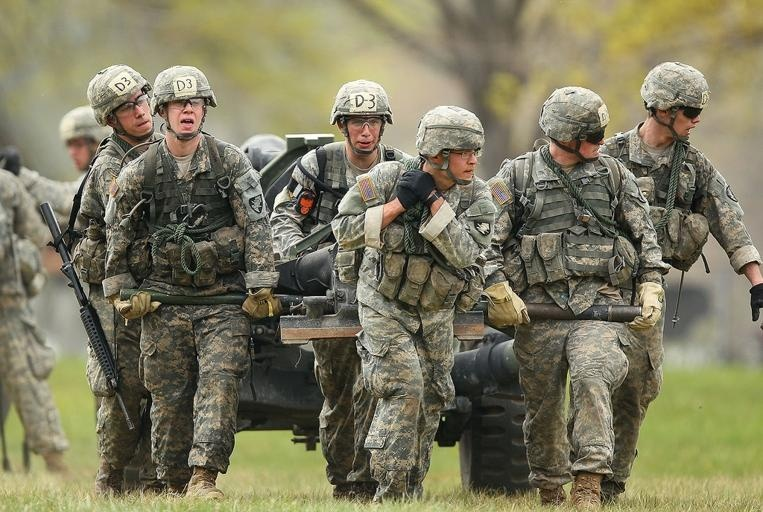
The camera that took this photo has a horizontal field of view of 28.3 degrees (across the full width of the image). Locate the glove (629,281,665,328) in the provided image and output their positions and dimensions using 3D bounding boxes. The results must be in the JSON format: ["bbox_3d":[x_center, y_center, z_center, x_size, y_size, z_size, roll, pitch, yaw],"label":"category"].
[{"bbox_3d":[2.487,0.472,13.994,0.247,0.486,0.211,1,-3,12],"label":"glove"}]

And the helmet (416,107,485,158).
[{"bbox_3d":[0.618,-1.151,13.574,0.515,0.404,0.458,5,10,15],"label":"helmet"}]

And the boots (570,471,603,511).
[{"bbox_3d":[1.866,2.147,13.755,0.273,0.347,0.290,0,-13,6],"label":"boots"}]

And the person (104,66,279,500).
[{"bbox_3d":[-1.865,0.273,14.268,1.506,4.003,1.121,8,-15,-30],"label":"person"}]

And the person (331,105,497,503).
[{"bbox_3d":[0.306,0.421,13.619,1.323,3.521,0.876,0,-13,6],"label":"person"}]

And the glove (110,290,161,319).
[{"bbox_3d":[-2.329,0.483,14.159,0.294,0.142,0.298,-28,-51,22],"label":"glove"}]

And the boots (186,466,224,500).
[{"bbox_3d":[-1.617,2.087,13.802,0.343,0.312,0.546,2,-13,-6],"label":"boots"}]

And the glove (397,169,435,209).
[{"bbox_3d":[0.287,-0.608,13.501,0.333,0.341,0.152,-5,-7,9],"label":"glove"}]

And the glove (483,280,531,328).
[{"bbox_3d":[1.139,0.394,14.044,0.345,0.362,0.451,0,-53,36],"label":"glove"}]

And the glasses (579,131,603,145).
[{"bbox_3d":[1.976,-1.122,14.091,0.117,0.097,0.158,-7,-3,-14],"label":"glasses"}]
